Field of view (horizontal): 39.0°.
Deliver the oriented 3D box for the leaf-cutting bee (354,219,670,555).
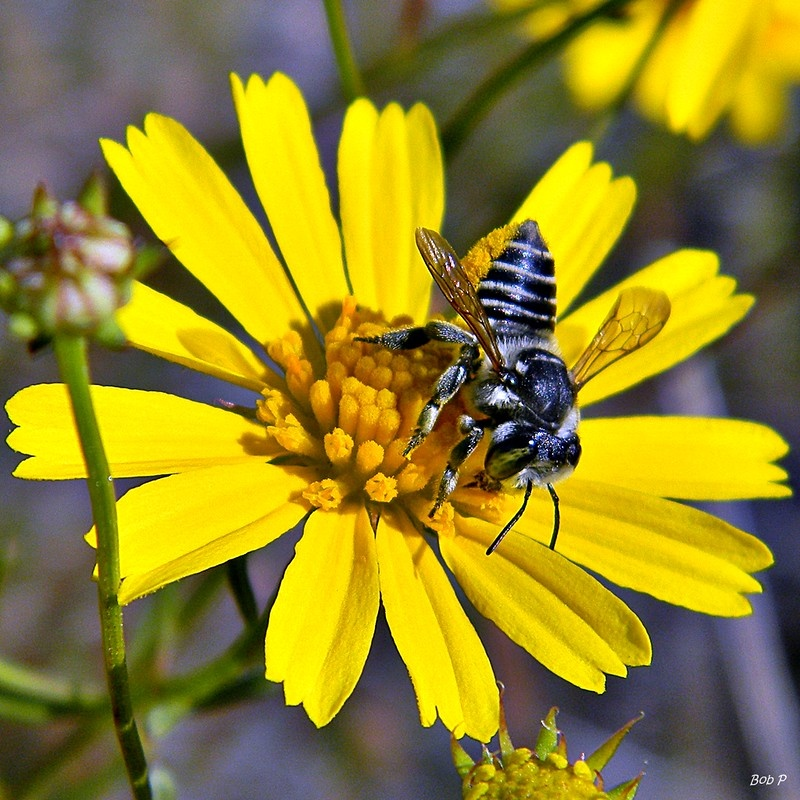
[{"bbox_3d":[0.185,-0.060,1.984,0.479,0.209,0.633,21,63,-30],"label":"leaf-cutting bee"}]
